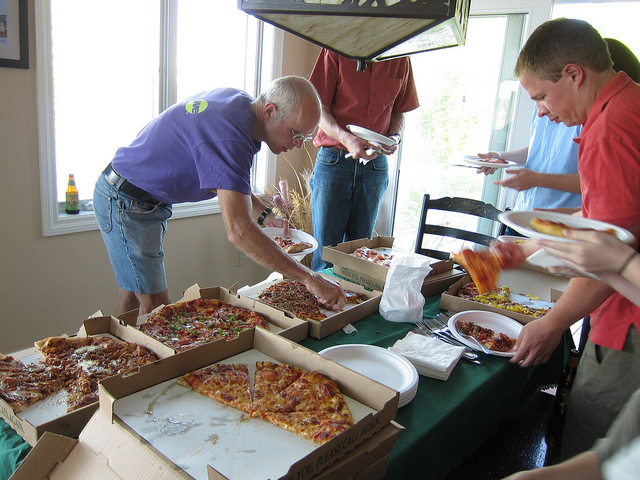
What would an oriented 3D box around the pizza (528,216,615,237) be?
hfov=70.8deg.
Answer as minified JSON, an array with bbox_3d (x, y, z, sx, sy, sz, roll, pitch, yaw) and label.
[{"bbox_3d":[0.759,-0.043,1.376,0.199,0.031,0.213,-4,12,-27],"label":"pizza"}]

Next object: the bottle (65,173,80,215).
[{"bbox_3d":[-1.736,-0.330,3.125,0.102,0.266,0.187,-8,21,-27],"label":"bottle"}]

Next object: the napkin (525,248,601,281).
[{"bbox_3d":[0.719,0.068,1.327,0.191,0.063,0.101,15,22,38],"label":"napkin"}]

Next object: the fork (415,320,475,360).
[{"bbox_3d":[0.530,0.404,2.028,0.058,0.052,0.445,-29,22,-15],"label":"fork"}]

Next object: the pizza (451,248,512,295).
[{"bbox_3d":[0.614,0.108,1.721,0.204,0.173,0.081,8,20,21],"label":"pizza"}]

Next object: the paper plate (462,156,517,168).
[{"bbox_3d":[1.124,-0.525,2.994,0.312,0.069,0.382,10,19,27],"label":"paper plate"}]

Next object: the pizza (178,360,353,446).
[{"bbox_3d":[-0.159,0.510,1.542,0.594,0.089,0.265,9,19,24],"label":"pizza"}]

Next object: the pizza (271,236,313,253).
[{"bbox_3d":[-0.152,0.025,2.651,0.131,0.041,0.133,-2,15,-25],"label":"pizza"}]

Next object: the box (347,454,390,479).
[{"bbox_3d":[0.152,0.655,1.309,0.086,0.053,0.084,-4,5,-40],"label":"box"}]

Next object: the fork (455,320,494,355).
[{"bbox_3d":[0.658,0.416,1.946,0.044,0.037,0.251,1,18,-13],"label":"fork"}]

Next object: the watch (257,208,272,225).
[{"bbox_3d":[-0.351,-0.148,2.805,0.061,0.102,0.104,37,-11,13],"label":"watch"}]

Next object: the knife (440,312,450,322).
[{"bbox_3d":[0.612,0.376,2.217,0.023,0.029,0.091,12,13,-11],"label":"knife"}]

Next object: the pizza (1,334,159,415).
[{"bbox_3d":[-0.890,0.457,1.612,0.309,0.043,0.331,18,14,17],"label":"pizza"}]

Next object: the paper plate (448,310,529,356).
[{"bbox_3d":[0.715,0.423,2.083,0.321,0.154,0.381,8,13,33],"label":"paper plate"}]

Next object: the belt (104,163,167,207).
[{"bbox_3d":[-0.943,-0.305,2.316,0.222,0.202,0.051,33,55,0],"label":"belt"}]

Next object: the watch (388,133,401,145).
[{"bbox_3d":[0.535,-0.753,3.306,0.090,0.089,0.036,6,-11,-9],"label":"watch"}]
